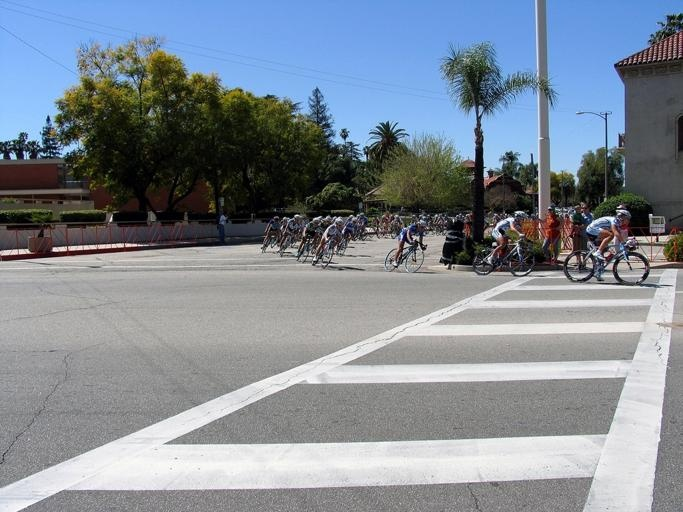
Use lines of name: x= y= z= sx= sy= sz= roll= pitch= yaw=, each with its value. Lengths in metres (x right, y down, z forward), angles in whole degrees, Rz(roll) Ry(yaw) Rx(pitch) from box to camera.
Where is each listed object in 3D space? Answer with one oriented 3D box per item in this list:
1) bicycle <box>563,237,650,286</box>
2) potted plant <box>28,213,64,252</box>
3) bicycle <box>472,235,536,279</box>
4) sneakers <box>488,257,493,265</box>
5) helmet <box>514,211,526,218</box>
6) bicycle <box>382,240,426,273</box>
bicycle: x=6.310 y=0.087 z=14.167 sx=2.268 sy=1.529 sz=0.907 roll=-1 pitch=3 yaw=19
potted plant: x=-14.544 y=-1.282 z=29.260 sx=1.210 sy=1.938 sz=1.103 roll=5 pitch=-10 yaw=-41
bicycle: x=4.626 y=0.033 z=16.880 sx=1.710 sy=1.294 sz=0.918 roll=0 pitch=3 yaw=23
sneakers: x=4.183 y=0.115 z=16.726 sx=0.162 sy=0.301 sz=0.152 roll=-1 pitch=-6 yaw=1
helmet: x=4.893 y=-1.146 z=16.369 sx=0.204 sy=0.113 sz=0.315 roll=0 pitch=3 yaw=7
bicycle: x=2.097 y=0.061 z=18.804 sx=1.648 sy=1.114 sz=0.677 roll=-1 pitch=-3 yaw=40
